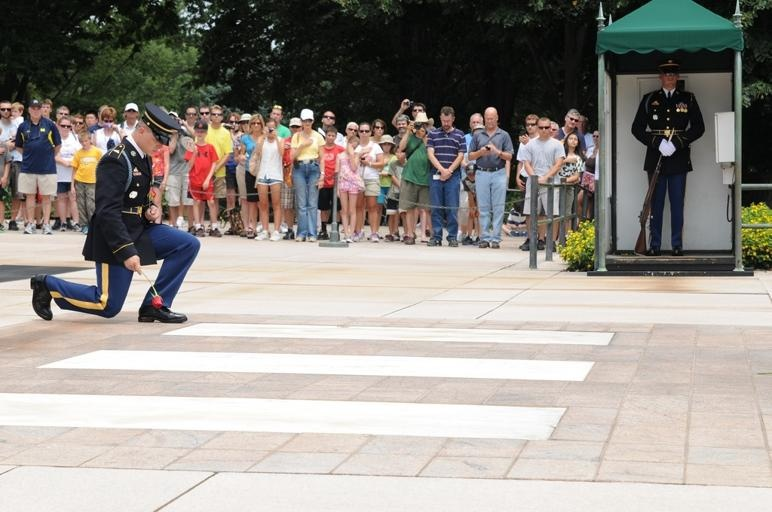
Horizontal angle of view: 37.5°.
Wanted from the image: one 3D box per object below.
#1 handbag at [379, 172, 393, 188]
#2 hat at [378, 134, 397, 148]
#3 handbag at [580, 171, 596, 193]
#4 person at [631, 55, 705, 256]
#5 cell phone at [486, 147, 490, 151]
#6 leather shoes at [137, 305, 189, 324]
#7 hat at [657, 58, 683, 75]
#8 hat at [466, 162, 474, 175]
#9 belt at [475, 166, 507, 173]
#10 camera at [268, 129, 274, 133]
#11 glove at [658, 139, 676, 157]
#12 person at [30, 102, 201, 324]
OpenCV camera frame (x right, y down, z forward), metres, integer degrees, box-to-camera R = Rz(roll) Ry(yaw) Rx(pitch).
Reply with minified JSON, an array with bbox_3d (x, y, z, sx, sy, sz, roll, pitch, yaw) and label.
[{"bbox_3d":[-0.005,-1.399,20.938,0.389,0.347,0.224,1,-1,-5],"label":"handbag"},{"bbox_3d":[0.014,-2.093,20.853,0.647,0.179,0.575,0,0,-2],"label":"hat"},{"bbox_3d":[3.332,-1.250,18.951,0.220,0.287,0.311,1,4,8],"label":"handbag"},{"bbox_3d":[3.826,-1.322,15.530,0.567,2.647,0.703,-3,5,-37],"label":"person"},{"bbox_3d":[1.686,-1.784,18.975,0.060,0.061,0.019,-2,-9,2],"label":"cell phone"},{"bbox_3d":[-2.327,0.605,11.795,0.570,0.163,0.180,-2,2,3],"label":"leather shoes"},{"bbox_3d":[3.825,-2.568,15.460,0.250,0.236,0.214,1,4,10],"label":"hat"},{"bbox_3d":[1.422,-1.489,19.364,0.175,0.228,0.310,0,4,-1],"label":"hat"},{"bbox_3d":[1.755,-1.455,19.252,0.467,0.076,0.111,0,4,4],"label":"belt"},{"bbox_3d":[-2.009,-2.179,19.897,0.092,0.091,0.036,-2,4,-28],"label":"camera"},{"bbox_3d":[3.793,-1.455,15.416,0.198,0.230,0.222,1,4,17],"label":"glove"},{"bbox_3d":[-2.681,-0.405,11.488,1.525,2.224,0.721,0,4,-5],"label":"person"}]
